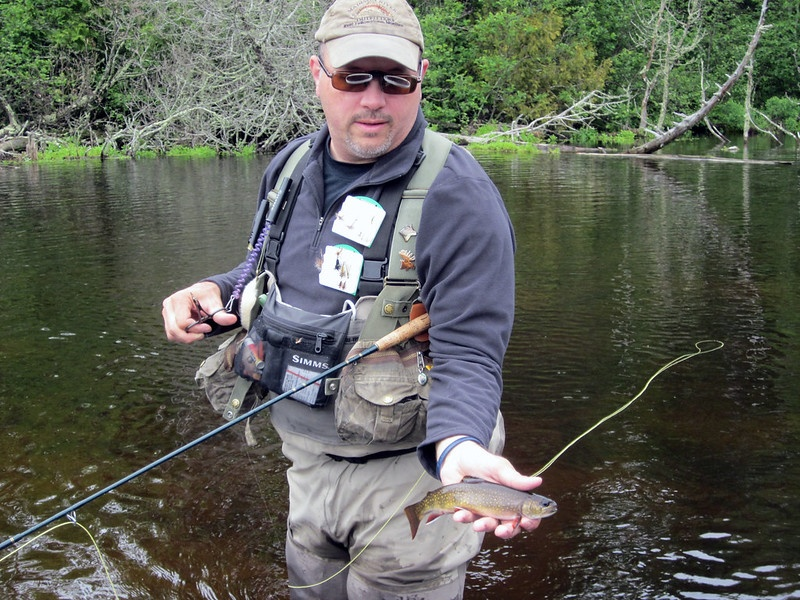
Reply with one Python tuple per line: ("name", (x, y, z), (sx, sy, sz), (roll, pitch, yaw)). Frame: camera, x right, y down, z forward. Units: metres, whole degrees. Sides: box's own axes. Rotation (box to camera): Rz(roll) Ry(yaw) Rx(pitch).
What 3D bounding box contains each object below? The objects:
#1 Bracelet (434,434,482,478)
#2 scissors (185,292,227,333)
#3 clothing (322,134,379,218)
("Bracelet", (0.153, 0.440, 1.816), (0.146, 0.121, 0.039), (-28, 53, -23))
("scissors", (-0.761, 0.052, 2.525), (0.162, 0.020, 0.156), (35, 46, 11))
("clothing", (-0.209, -0.448, 2.329), (0.222, 0.243, 0.079), (4, 69, -3))
